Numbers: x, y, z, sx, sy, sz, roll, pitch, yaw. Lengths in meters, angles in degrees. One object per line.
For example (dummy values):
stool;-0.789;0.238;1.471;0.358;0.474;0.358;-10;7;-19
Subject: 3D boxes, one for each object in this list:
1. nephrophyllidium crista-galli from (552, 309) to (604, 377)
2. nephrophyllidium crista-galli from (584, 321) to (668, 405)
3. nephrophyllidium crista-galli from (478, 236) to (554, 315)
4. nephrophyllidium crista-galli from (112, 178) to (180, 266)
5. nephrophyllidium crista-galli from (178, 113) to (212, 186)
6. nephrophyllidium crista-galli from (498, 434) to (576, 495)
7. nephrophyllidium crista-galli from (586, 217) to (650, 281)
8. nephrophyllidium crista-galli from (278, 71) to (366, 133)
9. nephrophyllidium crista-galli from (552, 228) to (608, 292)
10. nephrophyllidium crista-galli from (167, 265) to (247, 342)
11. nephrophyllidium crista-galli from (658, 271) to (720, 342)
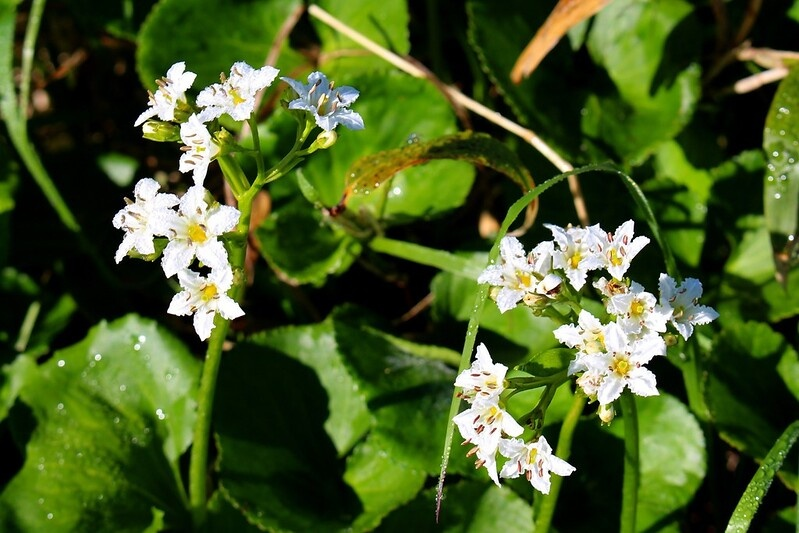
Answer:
nephrophyllidium crista-galli;0.493;0.199;1.982;0.143;0.167;0.071;4;3;24
nephrophyllidium crista-galli;0.576;0.262;1.900;0.191;0.228;0.069;-17;3;5
nephrophyllidium crista-galli;0.329;0.023;2.020;0.220;0.187;0.088;2;16;4
nephrophyllidium crista-galli;-0.669;-0.115;2.058;0.201;0.229;0.104;10;1;37
nephrophyllidium crista-galli;-0.560;-0.322;2.026;0.086;0.183;0.122;-4;16;-17
nephrophyllidium crista-galli;0.378;0.538;2.010;0.174;0.159;0.088;24;22;14
nephrophyllidium crista-galli;0.586;-0.046;2.003;0.151;0.153;0.077;-4;16;-17
nephrophyllidium crista-galli;-0.227;-0.449;2.063;0.209;0.123;0.220;23;42;2
nephrophyllidium crista-galli;0.497;-0.041;2.041;0.137;0.064;0.166;-13;1;43
nephrophyllidium crista-galli;-0.522;0.096;2.011;0.198;0.085;0.190;9;55;5
nephrophyllidium crista-galli;0.773;0.107;2.010;0.154;0.165;0.111;-8;18;-27
